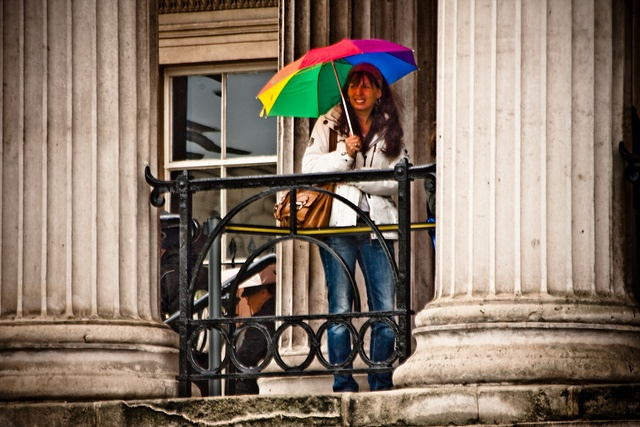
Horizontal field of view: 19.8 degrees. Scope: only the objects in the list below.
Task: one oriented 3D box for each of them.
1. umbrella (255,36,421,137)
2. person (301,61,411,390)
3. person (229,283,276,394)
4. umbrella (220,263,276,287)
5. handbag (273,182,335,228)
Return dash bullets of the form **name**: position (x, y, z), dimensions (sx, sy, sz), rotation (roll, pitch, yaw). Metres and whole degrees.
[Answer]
- **umbrella**: position (0.095, -1.014, 13.035), dimensions (1.115, 0.378, 1.088), rotation (-5, -14, -26)
- **person**: position (0.249, 0.068, 12.993), dimensions (0.724, 2.336, 0.495), rotation (-1, -8, 2)
- **person**: position (-0.553, 1.005, 15.119), dimensions (0.320, 0.935, 0.884), rotation (0, -8, -1)
- **umbrella**: position (-0.606, 0.501, 15.473), dimensions (0.328, 0.090, 0.247), rotation (-9, -30, 9)
- **handbag**: position (-0.093, -0.050, 12.990), dimensions (0.294, 0.369, 0.143), rotation (8, -2, 10)
